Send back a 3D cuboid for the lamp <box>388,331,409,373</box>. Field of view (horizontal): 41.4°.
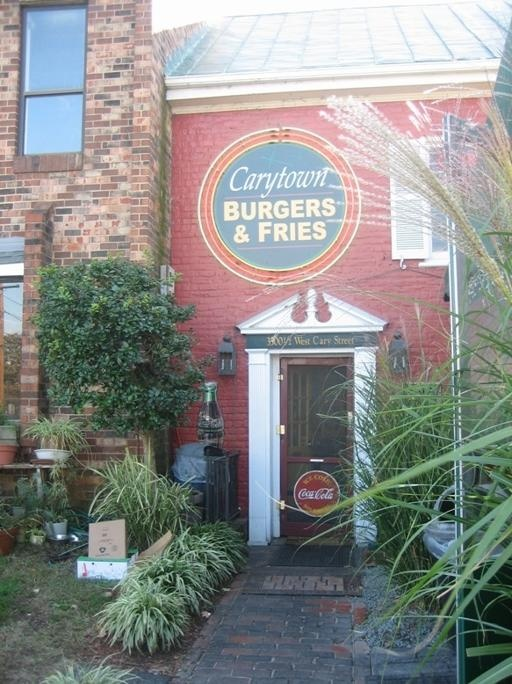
[{"bbox_3d":[1.256,0.107,6.065,0.143,0.578,0.049,11,-50,1],"label":"lamp"}]

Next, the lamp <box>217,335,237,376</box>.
[{"bbox_3d":[-0.281,0.144,6.893,0.203,0.378,0.181,7,-2,-2],"label":"lamp"}]
